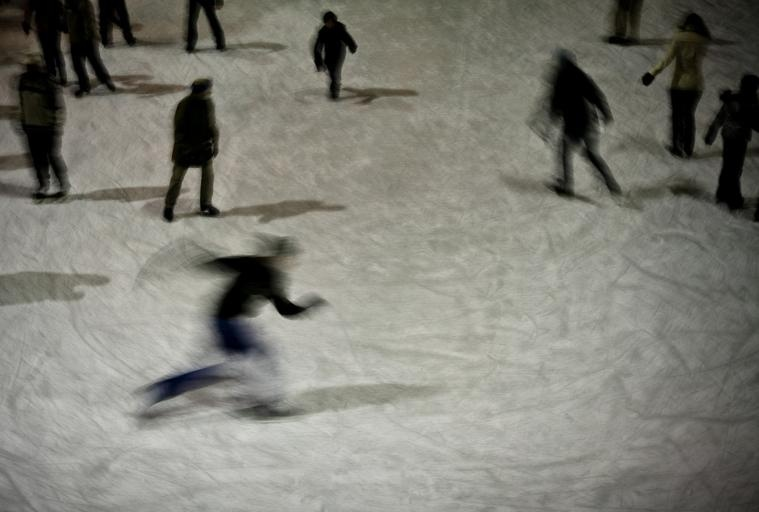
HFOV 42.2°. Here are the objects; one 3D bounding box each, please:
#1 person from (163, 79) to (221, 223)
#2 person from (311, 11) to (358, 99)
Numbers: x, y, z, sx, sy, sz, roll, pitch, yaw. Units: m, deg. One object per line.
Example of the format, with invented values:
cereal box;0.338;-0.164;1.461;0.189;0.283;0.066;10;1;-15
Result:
person;-1.857;-1.055;9.803;0.549;1.423;0.299;2;9;-10
person;-0.451;-2.016;9.880;0.408;0.863;0.185;6;9;19
